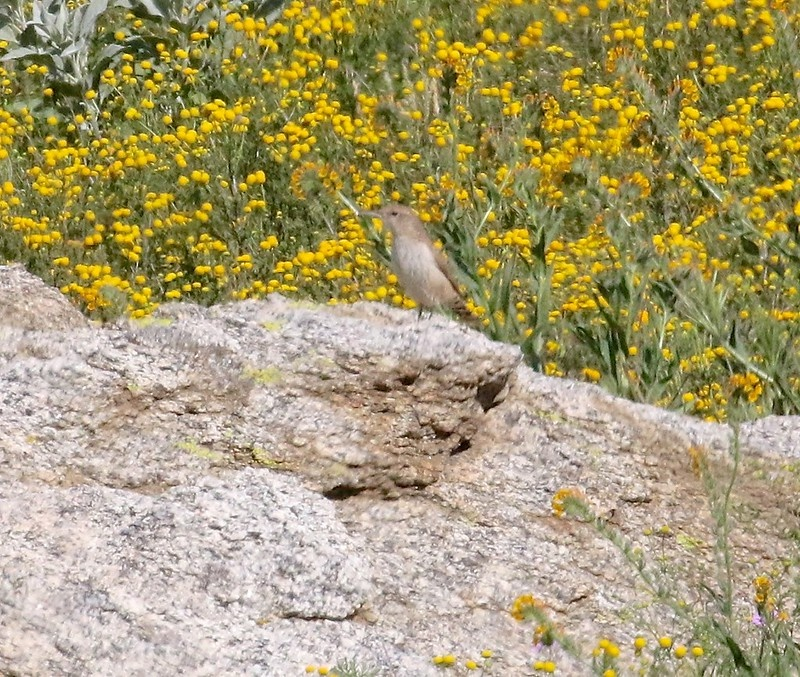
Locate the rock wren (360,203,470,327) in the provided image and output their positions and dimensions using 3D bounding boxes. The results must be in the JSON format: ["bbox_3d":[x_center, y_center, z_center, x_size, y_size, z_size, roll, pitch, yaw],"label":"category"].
[{"bbox_3d":[0.103,-0.354,8.644,0.616,0.558,0.280,-4,-3,-40],"label":"rock wren"}]
